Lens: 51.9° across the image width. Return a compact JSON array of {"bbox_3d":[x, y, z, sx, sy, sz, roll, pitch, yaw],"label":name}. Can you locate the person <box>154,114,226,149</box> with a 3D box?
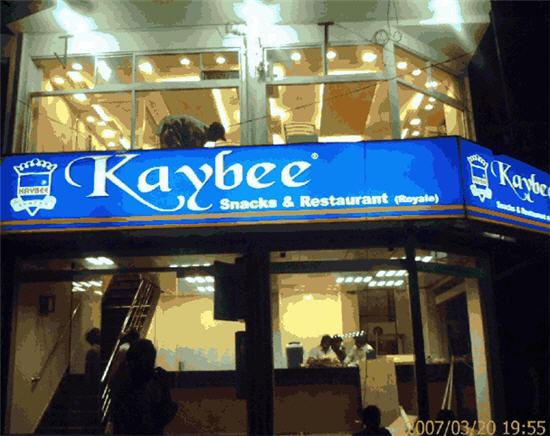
[{"bbox_3d":[-1.448,-1.402,9.632,0.985,0.451,0.621,2,14,-11],"label":"person"}]

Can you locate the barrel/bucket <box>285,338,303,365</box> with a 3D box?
[{"bbox_3d":[0.280,2.194,9.214,0.401,0.555,0.297,1,-23,0],"label":"barrel/bucket"}]

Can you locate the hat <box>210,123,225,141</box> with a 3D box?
[{"bbox_3d":[-0.988,-1.488,9.607,0.262,0.311,0.335,2,-18,-3],"label":"hat"}]

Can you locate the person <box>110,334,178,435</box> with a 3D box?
[{"bbox_3d":[-1.422,1.840,6.215,0.664,1.013,0.322,6,-18,-15],"label":"person"}]
